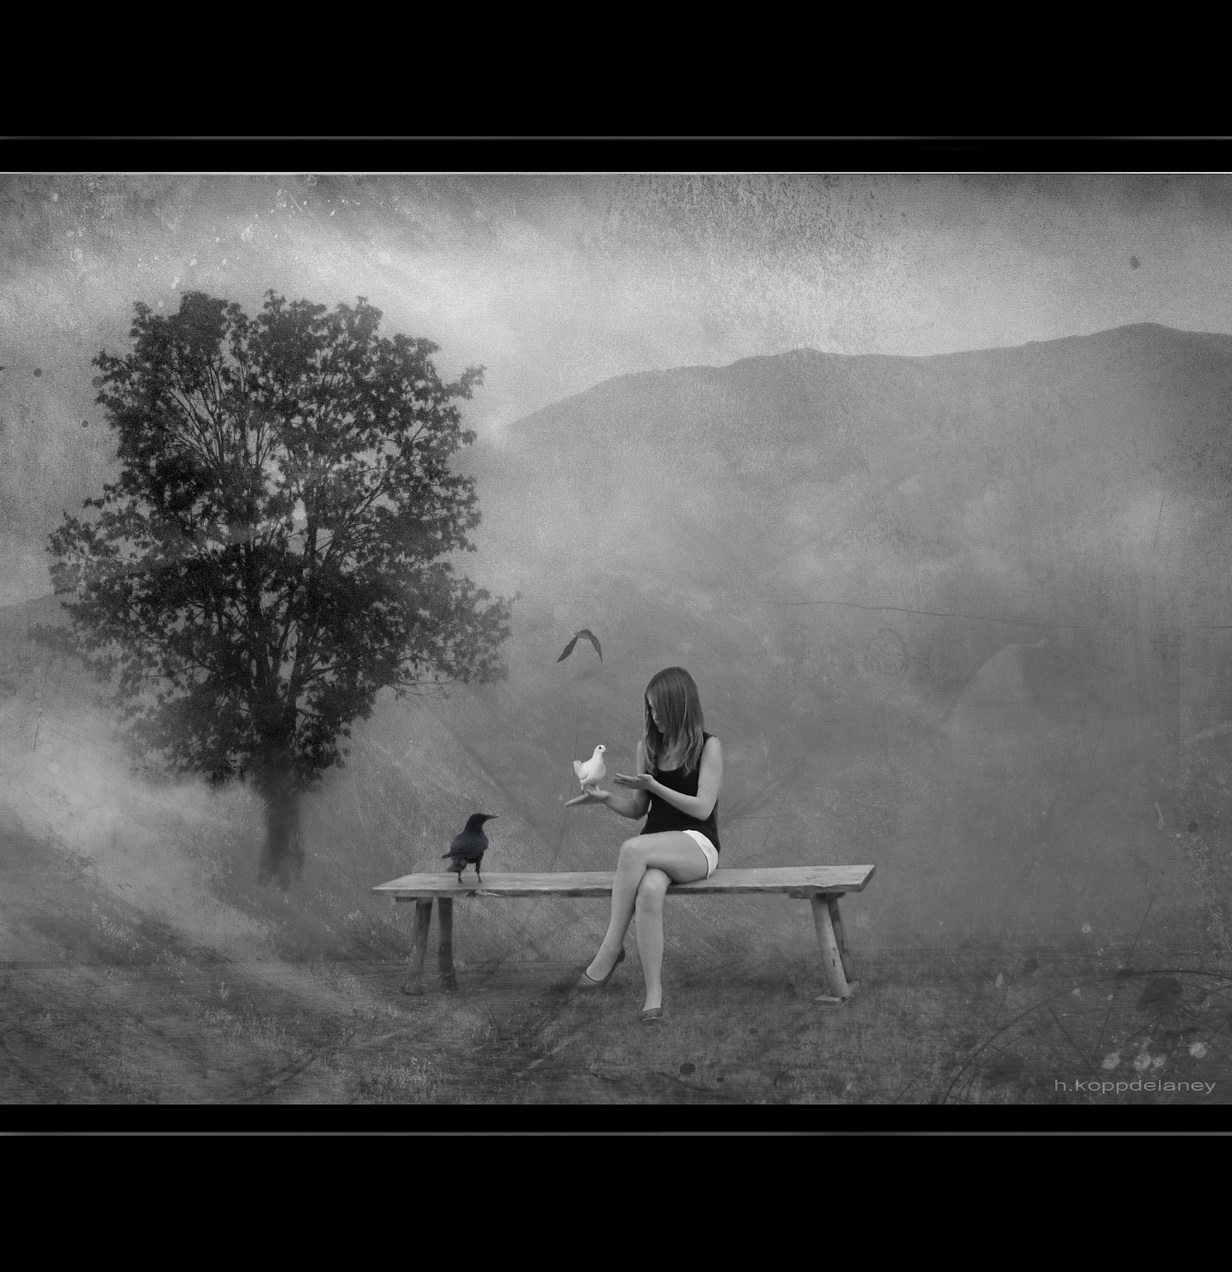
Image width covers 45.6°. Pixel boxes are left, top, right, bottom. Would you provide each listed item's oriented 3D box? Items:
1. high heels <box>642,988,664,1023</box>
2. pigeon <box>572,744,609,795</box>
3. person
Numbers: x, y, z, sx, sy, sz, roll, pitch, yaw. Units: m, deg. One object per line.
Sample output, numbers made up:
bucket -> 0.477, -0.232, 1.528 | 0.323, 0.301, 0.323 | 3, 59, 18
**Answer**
high heels -> 0.119, 1.268, 4.961 | 0.050, 0.114, 0.091 | 3, -1, -28
pigeon -> -0.091, 0.462, 5.016 | 0.090, 0.156, 0.150 | -2, 0, 6
person -> 0.114, 0.717, 5.021 | 0.500, 1.170, 0.333 | -2, 0, -3
